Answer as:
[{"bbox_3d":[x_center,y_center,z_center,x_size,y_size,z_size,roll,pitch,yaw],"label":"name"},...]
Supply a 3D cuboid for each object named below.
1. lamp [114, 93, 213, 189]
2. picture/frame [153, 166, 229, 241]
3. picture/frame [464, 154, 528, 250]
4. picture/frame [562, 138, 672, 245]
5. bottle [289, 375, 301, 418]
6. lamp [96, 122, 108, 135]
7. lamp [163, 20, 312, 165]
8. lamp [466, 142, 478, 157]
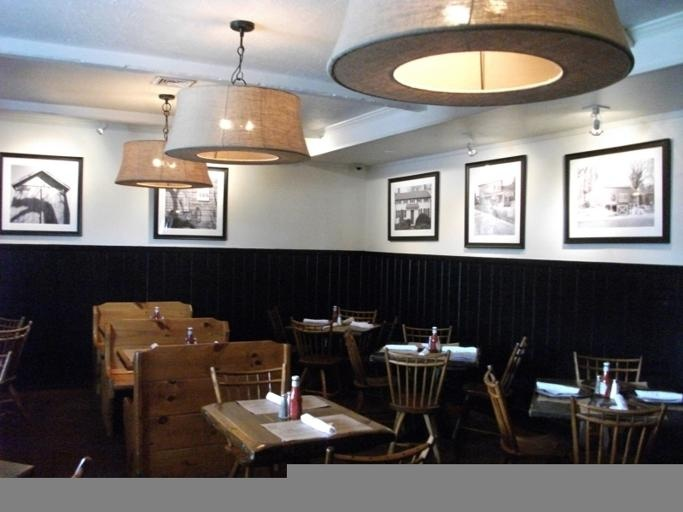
[{"bbox_3d":[-1.581,-1.044,4.592,0.778,0.769,0.792,2,2,32],"label":"lamp"},{"bbox_3d":[-1.810,-0.601,5.934,1.015,0.988,0.076,1,-2,-26],"label":"picture/frame"},{"bbox_3d":[1.695,-0.586,5.461,0.059,1.241,1.092,0,2,-31],"label":"picture/frame"},{"bbox_3d":[2.431,-0.560,4.400,0.044,0.913,1.009,-1,3,-36],"label":"picture/frame"},{"bbox_3d":[-0.264,0.774,2.887,0.068,0.246,0.270,1,-1,-5],"label":"bottle"},{"bbox_3d":[-2.837,-1.507,5.963,0.122,0.133,0.155,11,36,0],"label":"lamp"},{"bbox_3d":[-0.594,-0.972,3.000,0.858,0.733,0.784,-1,6,-29],"label":"lamp"},{"bbox_3d":[1.457,-1.185,5.658,0.125,0.229,0.160,-1,3,21],"label":"lamp"}]
